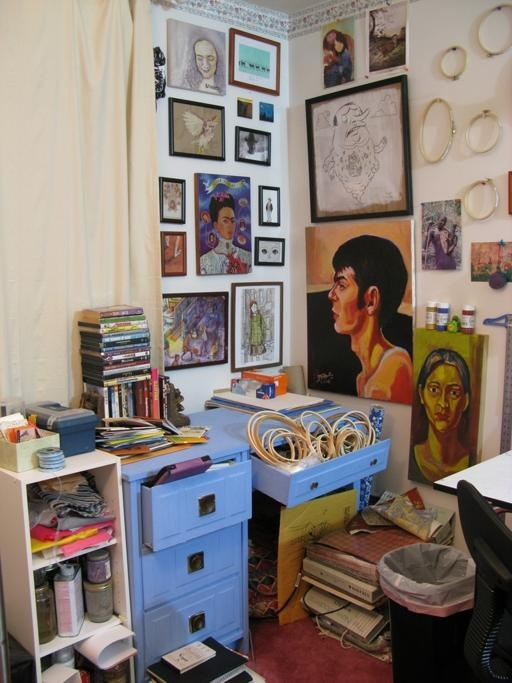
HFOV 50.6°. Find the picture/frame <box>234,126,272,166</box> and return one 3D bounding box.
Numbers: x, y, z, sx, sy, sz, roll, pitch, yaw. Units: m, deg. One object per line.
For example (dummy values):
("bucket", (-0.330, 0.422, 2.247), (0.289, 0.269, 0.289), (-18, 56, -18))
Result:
("picture/frame", (-0.027, -1.006, 2.779), (0.010, 0.174, 0.232), (9, 14, 37))

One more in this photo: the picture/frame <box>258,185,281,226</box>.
("picture/frame", (0.065, -0.733, 2.905), (0.015, 0.238, 0.200), (5, 11, 31))

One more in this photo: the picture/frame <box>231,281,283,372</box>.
("picture/frame", (-0.009, -0.090, 2.892), (0.020, 0.510, 0.400), (12, 19, 41))

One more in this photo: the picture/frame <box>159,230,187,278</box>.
("picture/frame", (-0.383, -0.398, 2.440), (0.026, 0.281, 0.196), (7, 12, 36))

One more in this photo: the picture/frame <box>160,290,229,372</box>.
("picture/frame", (-0.300, -0.051, 2.608), (0.486, 0.367, 0.020), (-2, -4, 40))

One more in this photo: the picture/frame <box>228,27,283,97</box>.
("picture/frame", (-0.018, -1.417, 2.739), (0.032, 0.363, 0.409), (4, 7, 42))

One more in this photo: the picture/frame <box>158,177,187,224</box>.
("picture/frame", (-0.384, -0.637, 2.425), (0.028, 0.286, 0.207), (12, 17, 37))

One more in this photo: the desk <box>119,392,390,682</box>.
("desk", (-0.038, 0.654, 1.766), (0.809, 0.749, 0.634), (-14, 19, -42))

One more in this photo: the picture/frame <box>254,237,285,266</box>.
("picture/frame", (0.072, -0.488, 2.944), (0.023, 0.151, 0.241), (3, 9, 42))
